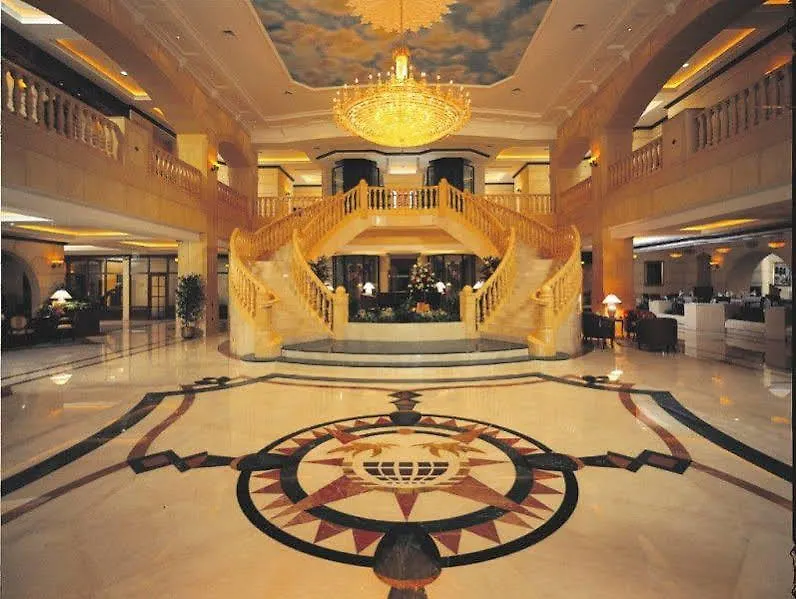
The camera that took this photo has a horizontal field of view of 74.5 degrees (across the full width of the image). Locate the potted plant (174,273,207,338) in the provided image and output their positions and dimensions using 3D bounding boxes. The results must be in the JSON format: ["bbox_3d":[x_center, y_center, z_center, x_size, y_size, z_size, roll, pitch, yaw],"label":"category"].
[{"bbox_3d":[-5.584,0.195,14.087,0.727,1.713,0.495,-7,14,-29],"label":"potted plant"}]

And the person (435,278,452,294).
[{"bbox_3d":[1.549,-0.466,17.621,0.727,0.504,0.644,-1,-4,0],"label":"person"}]
